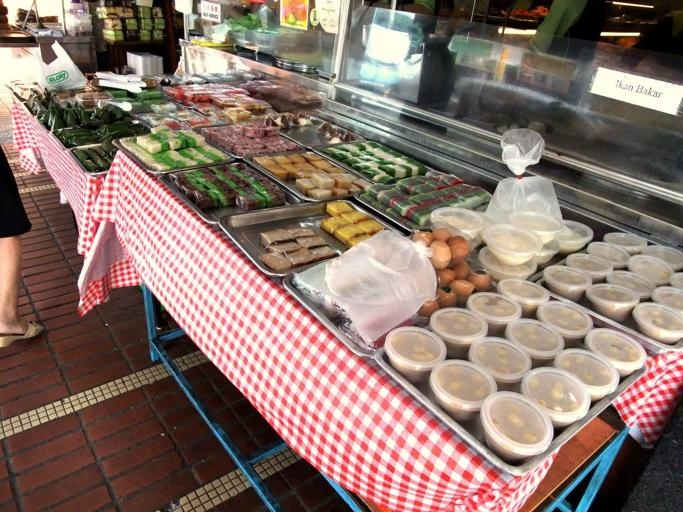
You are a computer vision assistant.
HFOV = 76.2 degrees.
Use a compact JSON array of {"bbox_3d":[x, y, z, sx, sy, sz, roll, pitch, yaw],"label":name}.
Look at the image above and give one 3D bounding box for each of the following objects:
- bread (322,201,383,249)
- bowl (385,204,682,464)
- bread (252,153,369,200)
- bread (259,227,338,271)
[{"bbox_3d":[0.055,-0.126,1.917,0.260,0.051,0.248,-20,44,-35],"label":"bread"},{"bbox_3d":[0.521,0.302,1.335,0.720,0.201,0.582,-16,36,-34],"label":"bowl"},{"bbox_3d":[-0.186,-0.434,2.265,0.360,0.053,0.476,-15,32,-31],"label":"bread"},{"bbox_3d":[-0.189,-0.027,1.704,0.241,0.043,0.216,-14,34,-33],"label":"bread"}]
